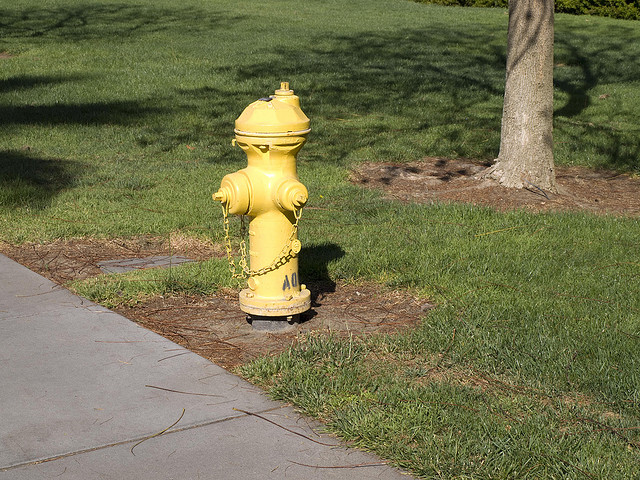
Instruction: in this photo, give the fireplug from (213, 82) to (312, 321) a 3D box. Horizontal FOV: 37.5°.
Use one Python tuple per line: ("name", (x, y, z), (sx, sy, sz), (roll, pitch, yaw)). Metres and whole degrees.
("fireplug", (-0.534, -0.285, 9.620), (0.921, 2.234, 0.672), (-3, 18, -1))
